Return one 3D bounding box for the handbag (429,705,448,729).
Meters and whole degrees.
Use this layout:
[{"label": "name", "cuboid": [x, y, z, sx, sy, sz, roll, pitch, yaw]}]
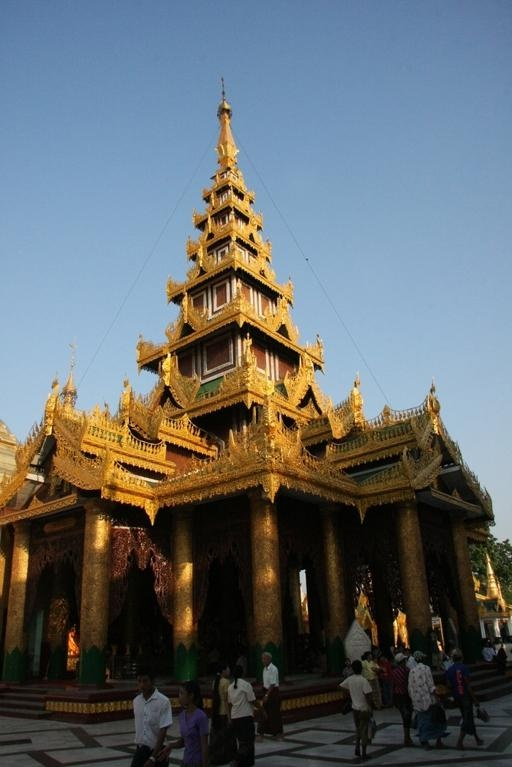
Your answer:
[{"label": "handbag", "cuboid": [2.271, 4.184, 6.842, 0.225, 0.333, 0.081, 16, -27, -28]}]
